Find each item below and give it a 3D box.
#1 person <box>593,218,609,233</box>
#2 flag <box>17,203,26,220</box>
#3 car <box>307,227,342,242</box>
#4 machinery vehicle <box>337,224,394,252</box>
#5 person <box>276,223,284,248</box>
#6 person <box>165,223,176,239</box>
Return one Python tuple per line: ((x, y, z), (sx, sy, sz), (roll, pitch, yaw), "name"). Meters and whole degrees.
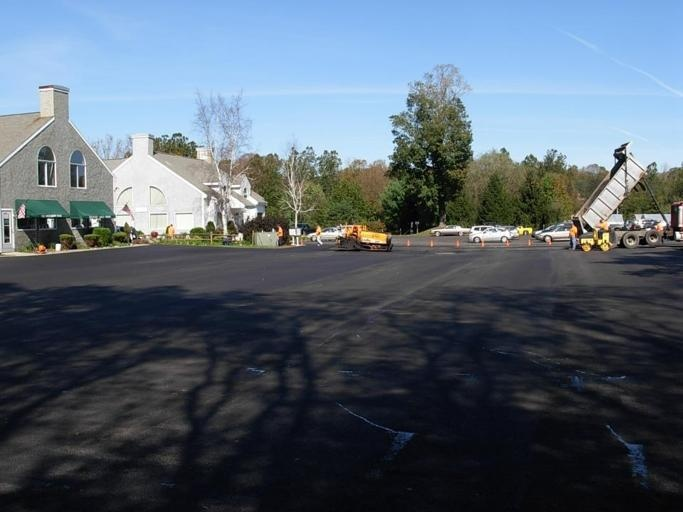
((16.683, -1.892, 39.320), (0.974, 1.132, 0.665), (8, -7, 7), "person")
((-20.244, -2.802, 38.791), (0.477, 0.937, 0.998), (-4, 7, -32), "flag")
((-1.820, -2.211, 68.926), (3.978, 1.489, 1.892), (2, 4, 8), "car")
((1.651, -1.191, 42.115), (2.836, 1.401, 1.906), (3, 4, 14), "machinery vehicle")
((-5.111, -1.710, 50.779), (0.619, 1.607, 2.294), (-1, 6, -6), "person")
((-15.794, -2.230, 56.502), (0.831, 1.091, 1.160), (-2, 6, -18), "person")
